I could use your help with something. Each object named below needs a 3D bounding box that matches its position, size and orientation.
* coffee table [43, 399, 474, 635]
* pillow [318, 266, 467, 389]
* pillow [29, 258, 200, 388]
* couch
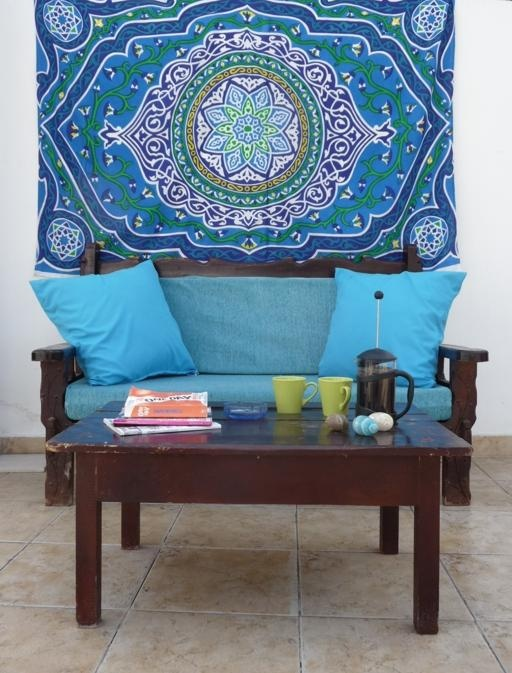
[{"bbox_3d":[0.013,0.391,1.536,0.837,0.400,0.402,0,5,3],"label":"coffee table"},{"bbox_3d":[0.452,-0.081,2.514,0.545,0.411,0.277,3,-1,34],"label":"pillow"},{"bbox_3d":[-0.490,-0.058,2.450,0.337,0.415,0.458,4,6,37],"label":"pillow"},{"bbox_3d":[-0.009,0.091,2.064,1.182,0.603,0.421,0,0,0],"label":"couch"}]
